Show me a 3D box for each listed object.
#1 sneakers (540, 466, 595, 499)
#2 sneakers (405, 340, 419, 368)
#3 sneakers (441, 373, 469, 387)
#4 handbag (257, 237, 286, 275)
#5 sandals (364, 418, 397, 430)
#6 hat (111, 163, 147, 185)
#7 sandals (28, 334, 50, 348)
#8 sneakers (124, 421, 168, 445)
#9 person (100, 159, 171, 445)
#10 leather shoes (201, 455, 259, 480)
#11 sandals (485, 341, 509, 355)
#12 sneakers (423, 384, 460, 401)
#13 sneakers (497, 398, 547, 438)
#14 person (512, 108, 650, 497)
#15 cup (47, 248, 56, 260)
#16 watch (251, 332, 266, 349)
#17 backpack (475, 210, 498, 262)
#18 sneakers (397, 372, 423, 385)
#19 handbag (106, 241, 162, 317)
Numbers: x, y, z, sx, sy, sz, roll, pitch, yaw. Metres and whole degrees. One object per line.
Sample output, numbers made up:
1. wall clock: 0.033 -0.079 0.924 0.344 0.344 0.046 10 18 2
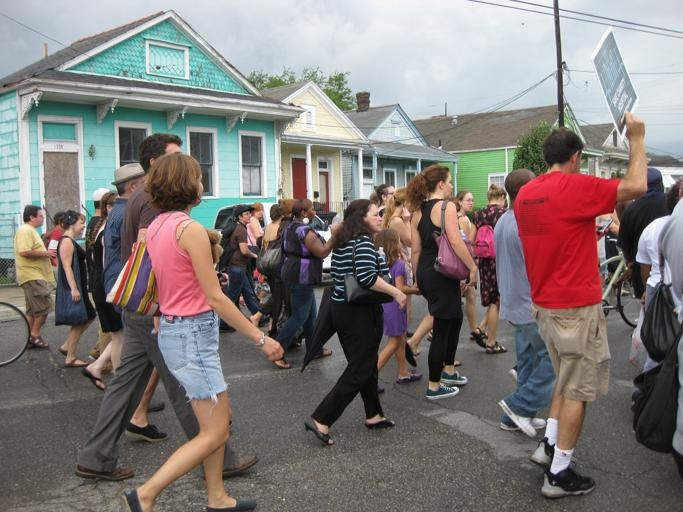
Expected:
1. sneakers: 1.619 1.638 4.147 0.433 0.225 0.172 -4 4 -16
2. sneakers: 0.757 1.099 6.205 0.084 0.359 0.160 -6 -4 1
3. sneakers: 1.217 1.328 6.109 0.358 0.163 0.133 3 2 -27
4. handbag: -0.981 -0.008 7.657 0.362 0.504 0.272 -3 -22 16
5. sandals: 0.358 1.506 5.121 0.211 0.068 0.107 -2 -1 -15
6. hat: -2.020 -0.747 5.339 0.281 0.110 0.237 -20 5 27
7. sandals: -4.391 1.206 7.991 0.417 0.195 0.164 2 1 -6
8. sneakers: -1.711 1.547 4.953 0.354 0.152 0.166 7 -1 -12
9. person: -1.644 0.426 5.058 0.595 2.407 0.676 20 15 36
10. leather shoes: -0.847 1.569 4.339 0.359 0.151 0.214 -7 2 -20
11. sandals: 2.042 1.221 7.442 0.239 0.118 0.143 -3 3 -9
12. sneakers: 1.040 1.391 5.841 0.360 0.151 0.140 -3 4 -22
13. sneakers: 1.560 1.465 4.993 0.586 0.249 0.197 32 27 -39
14. person: 1.777 0.335 4.186 0.764 2.709 0.690 -2 8 -5
15. cup: -4.151 -0.040 8.042 0.112 0.121 0.117 -2 -13 0
16. watch: -0.555 0.567 3.742 0.071 0.054 0.090 36 -24 -8
17. backpack: 2.017 -0.329 7.752 0.374 0.691 0.296 -5 6 -31
18. sneakers: 0.771 1.356 6.319 0.295 0.112 0.108 -4 9 -28
19. handbag: -1.524 0.158 4.152 0.446 0.540 0.205 24 19 8
